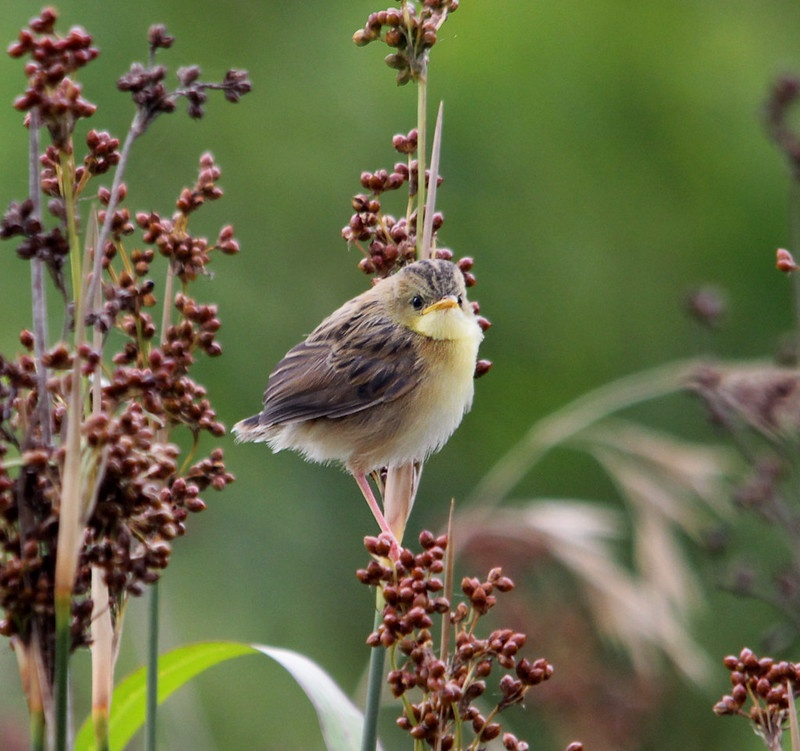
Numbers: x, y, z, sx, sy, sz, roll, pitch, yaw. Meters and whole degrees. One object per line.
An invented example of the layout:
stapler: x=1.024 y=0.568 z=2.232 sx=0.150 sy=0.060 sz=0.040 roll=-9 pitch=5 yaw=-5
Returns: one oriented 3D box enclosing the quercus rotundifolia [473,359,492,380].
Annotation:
quercus rotundifolia: x=0.244 y=-0.017 z=3.908 sx=0.049 sy=0.048 sz=0.070 roll=-10 pitch=-52 yaw=-1
